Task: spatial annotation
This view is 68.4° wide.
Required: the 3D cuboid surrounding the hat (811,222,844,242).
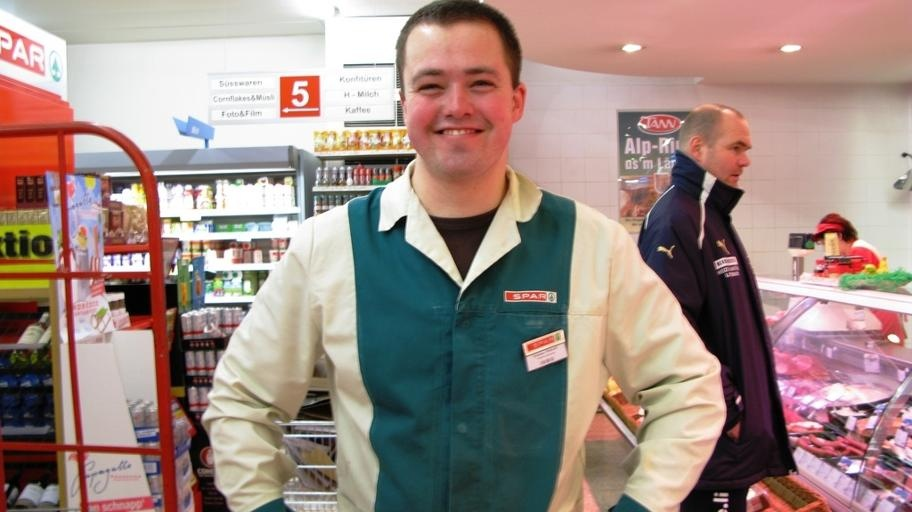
[{"bbox_3d":[3.483,-0.223,6.285,0.225,0.144,0.221,1,-2,16],"label":"hat"}]
